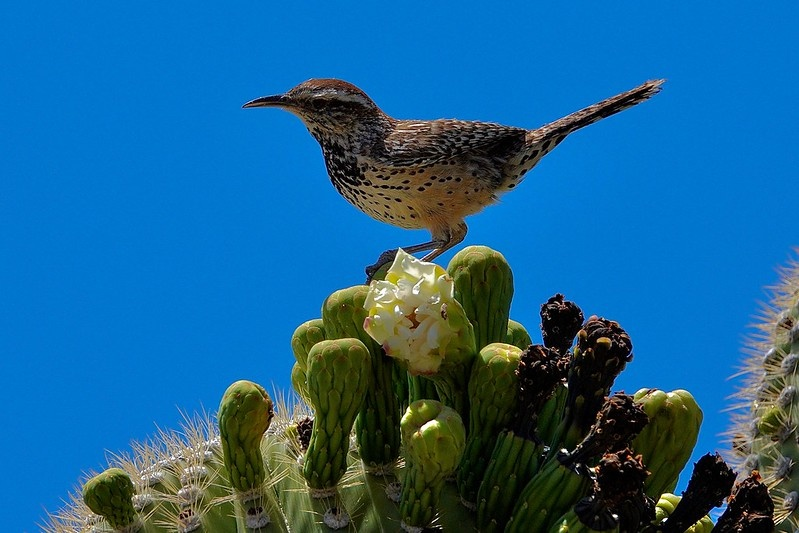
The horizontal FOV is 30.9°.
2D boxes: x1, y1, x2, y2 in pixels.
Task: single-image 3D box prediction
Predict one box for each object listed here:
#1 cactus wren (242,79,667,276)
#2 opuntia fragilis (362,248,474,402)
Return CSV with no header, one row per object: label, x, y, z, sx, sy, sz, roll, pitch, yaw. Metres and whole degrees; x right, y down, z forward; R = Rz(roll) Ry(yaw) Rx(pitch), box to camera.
cactus wren,0.263,-0.516,6.980,1.830,0.565,0.819,-6,-81,-2
opuntia fragilis,0.113,0.213,5.104,0.394,0.432,0.418,-10,7,-41
